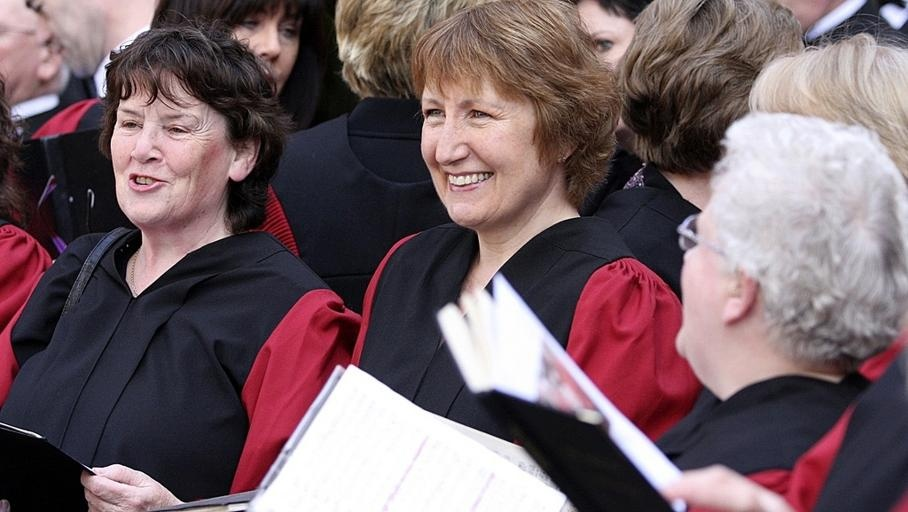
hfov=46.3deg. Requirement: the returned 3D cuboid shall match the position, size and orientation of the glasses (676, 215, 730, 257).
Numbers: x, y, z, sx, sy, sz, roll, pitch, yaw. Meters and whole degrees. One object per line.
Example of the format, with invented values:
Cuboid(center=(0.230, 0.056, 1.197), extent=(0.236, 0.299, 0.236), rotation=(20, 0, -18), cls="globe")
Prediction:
Cuboid(center=(1.020, -0.051, 4.390), extent=(0.171, 0.063, 0.165), rotation=(27, 23, 1), cls="glasses")
